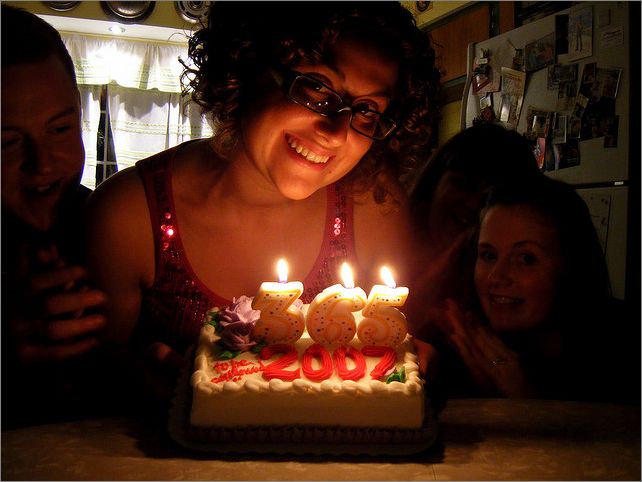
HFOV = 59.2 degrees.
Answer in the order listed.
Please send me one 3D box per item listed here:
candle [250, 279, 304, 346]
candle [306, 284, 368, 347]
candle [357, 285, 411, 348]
[{"bbox_3d":[-0.186,0.309,2.394,0.240,0.270,0.093,0,20,-15],"label":"candle"},{"bbox_3d":[0.072,0.324,2.381,0.224,0.265,0.070,3,2,-5],"label":"candle"},{"bbox_3d":[0.260,0.324,2.395,0.253,0.293,0.097,0,7,4],"label":"candle"}]
